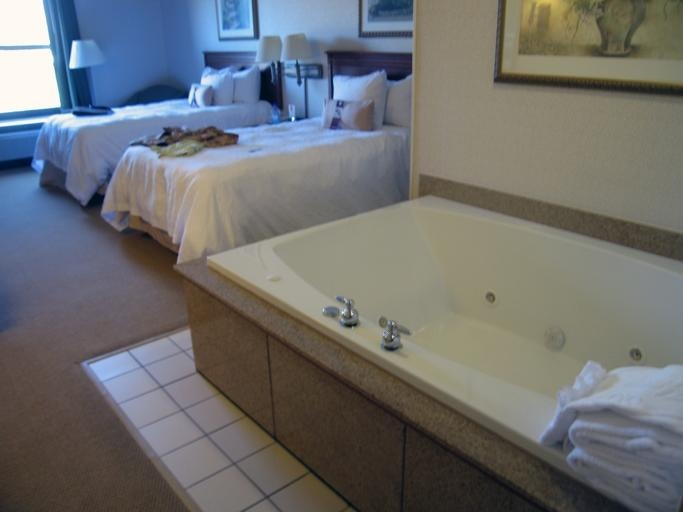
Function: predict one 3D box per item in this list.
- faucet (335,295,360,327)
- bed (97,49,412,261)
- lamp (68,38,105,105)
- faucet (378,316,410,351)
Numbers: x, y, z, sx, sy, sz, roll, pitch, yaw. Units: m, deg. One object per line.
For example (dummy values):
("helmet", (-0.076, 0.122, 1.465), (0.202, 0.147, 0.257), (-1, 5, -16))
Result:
("faucet", (0.020, 0.182, 1.733), (0.087, 0.094, 0.083), (-3, 18, -8))
("bed", (-0.380, -0.595, 3.874), (2.115, 1.226, 1.606), (-22, 33, -37))
("lamp", (-3.245, -2.347, 6.198), (0.396, 0.872, 0.412), (-17, 42, -28))
("faucet", (0.189, 0.276, 1.773), (0.075, 0.116, 0.118), (-24, 35, -36))
